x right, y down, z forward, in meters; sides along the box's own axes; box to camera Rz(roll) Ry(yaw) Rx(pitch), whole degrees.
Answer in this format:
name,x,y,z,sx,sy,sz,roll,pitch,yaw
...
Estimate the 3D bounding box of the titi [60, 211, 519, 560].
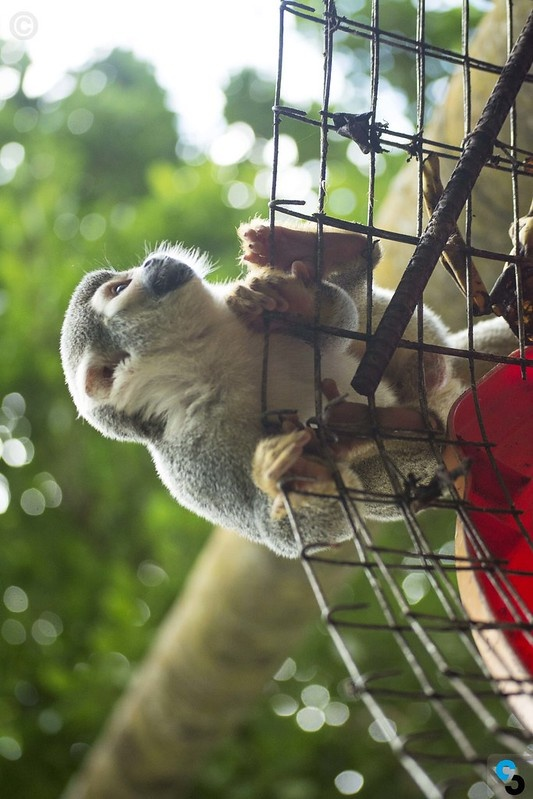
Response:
name,x,y,z,sx,sy,sz,roll,pitch,yaw
titi,-0.026,0.111,2.829,0.708,0.491,1.571,6,-19,11
